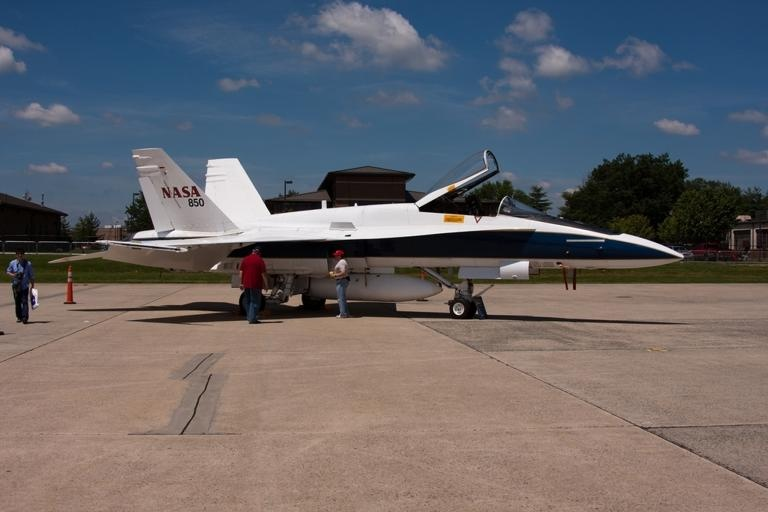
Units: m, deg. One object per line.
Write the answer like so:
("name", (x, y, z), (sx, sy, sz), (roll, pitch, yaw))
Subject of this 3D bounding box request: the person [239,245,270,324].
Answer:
("person", (-2.895, 0.700, 13.088), (0.550, 1.694, 0.820), (-2, 13, -10))

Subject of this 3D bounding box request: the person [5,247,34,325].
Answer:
("person", (-7.918, 0.635, 12.830), (0.464, 1.567, 1.589), (-8, 14, -31))

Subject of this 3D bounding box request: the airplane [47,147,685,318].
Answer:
("airplane", (-0.834, -0.409, 14.830), (10.951, 1.989, 6.909), (0, 2, 3))

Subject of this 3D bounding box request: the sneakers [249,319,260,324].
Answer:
("sneakers", (-2.870, 1.456, 12.981), (0.246, 0.100, 0.243), (-2, 10, -11))

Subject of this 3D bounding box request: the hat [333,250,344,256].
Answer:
("hat", (-1.074, -0.062, 13.988), (0.240, 0.084, 0.136), (3, 10, 4))

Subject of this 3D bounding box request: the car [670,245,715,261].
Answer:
("car", (25.384, -0.239, 47.786), (2.682, 1.382, 4.825), (-1, 4, -5))
